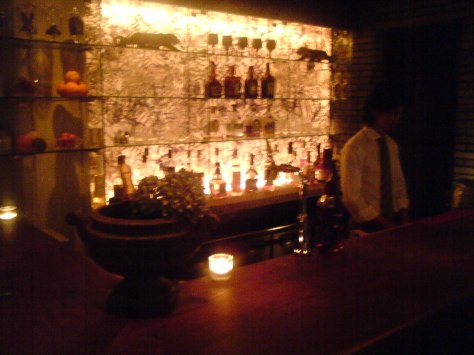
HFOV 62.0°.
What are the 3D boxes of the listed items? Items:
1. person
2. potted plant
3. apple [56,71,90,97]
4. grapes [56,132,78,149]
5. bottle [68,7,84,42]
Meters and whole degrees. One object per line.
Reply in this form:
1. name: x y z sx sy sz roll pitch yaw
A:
1. person: 1.028 -0.126 2.834 0.524 1.060 0.533 3 14 7
2. potted plant: -0.350 0.232 1.537 0.500 0.472 0.381 -5 15 -25
3. apple: -1.187 -0.658 2.881 0.212 0.167 0.204 4 8 -7
4. grapes: -1.263 -0.275 2.936 0.132 0.105 0.160 -1 14 -10
5. bottle: -1.182 -1.113 2.896 0.121 0.274 0.025 -7 -16 -12
